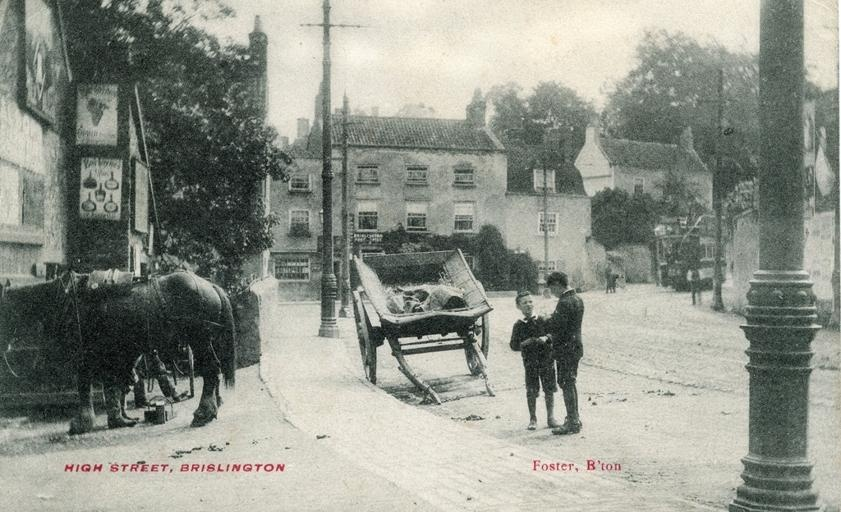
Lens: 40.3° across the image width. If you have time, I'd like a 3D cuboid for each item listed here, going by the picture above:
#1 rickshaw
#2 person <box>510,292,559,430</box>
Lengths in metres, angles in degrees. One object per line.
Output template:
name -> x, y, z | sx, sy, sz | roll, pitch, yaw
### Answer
rickshaw -> 0.402, 1.318, 22.515 | 2.725, 2.242, 4.578 | -10, 16, -19
person -> 1.969, 1.777, 19.668 | 0.761, 2.418, 0.702 | 0, -1, -1
